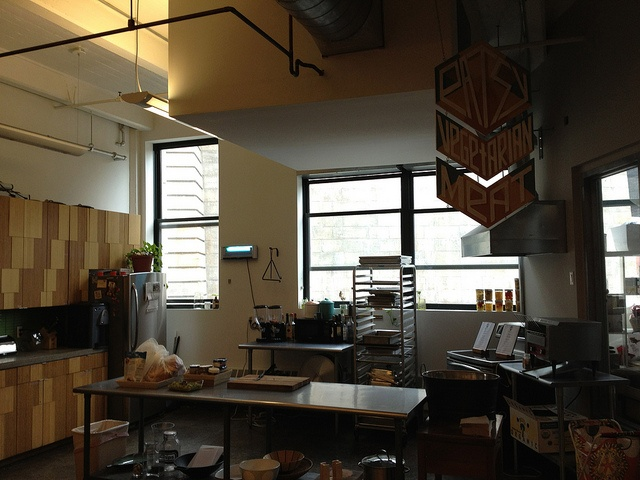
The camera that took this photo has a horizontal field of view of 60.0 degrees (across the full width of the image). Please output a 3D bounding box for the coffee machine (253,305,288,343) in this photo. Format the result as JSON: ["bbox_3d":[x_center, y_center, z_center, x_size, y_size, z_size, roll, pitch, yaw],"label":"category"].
[{"bbox_3d":[-0.685,1.151,7.559,0.401,0.493,0.452,-1,-4,-16],"label":"coffee machine"}]

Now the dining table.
[{"bbox_3d":[-0.670,1.722,5.015,3.221,0.863,0.811,-4,-7,16],"label":"dining table"}]

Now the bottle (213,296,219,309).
[{"bbox_3d":[-1.586,0.971,8.463,0.072,0.192,0.236,1,-7,-17],"label":"bottle"}]

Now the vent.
[{"bbox_3d":[2.250,-0.046,6.194,0.569,0.461,0.869,2,-6,-3],"label":"vent"}]

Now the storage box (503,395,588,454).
[{"bbox_3d":[2.218,1.811,5.573,0.493,0.476,0.726,-2,-6,-4],"label":"storage box"}]

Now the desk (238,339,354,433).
[{"bbox_3d":[-0.236,1.897,7.362,1.520,1.157,0.836,-2,-7,21],"label":"desk"}]

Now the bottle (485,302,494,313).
[{"bbox_3d":[2.258,0.905,7.388,0.098,0.141,0.105,3,-6,0],"label":"bottle"}]

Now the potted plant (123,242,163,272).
[{"bbox_3d":[-2.538,0.280,8.158,0.417,0.321,0.418,-1,-1,31],"label":"potted plant"}]

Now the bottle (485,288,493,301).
[{"bbox_3d":[2.262,0.759,7.404,0.118,0.213,0.127,2,-2,0],"label":"bottle"}]

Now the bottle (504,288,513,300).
[{"bbox_3d":[2.491,0.741,7.302,0.107,0.208,0.112,2,-1,0],"label":"bottle"}]

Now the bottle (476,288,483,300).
[{"bbox_3d":[2.151,0.751,7.446,0.108,0.200,0.119,1,-3,14],"label":"bottle"}]

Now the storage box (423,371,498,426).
[{"bbox_3d":[1.170,1.308,4.634,0.509,0.300,0.406,-1,-4,0],"label":"storage box"}]

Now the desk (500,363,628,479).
[{"bbox_3d":[2.405,1.823,5.473,0.842,1.117,1.135,0,-6,-11],"label":"desk"}]

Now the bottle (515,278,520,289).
[{"bbox_3d":[2.599,0.590,7.294,0.069,0.134,0.040,-5,-7,30],"label":"bottle"}]

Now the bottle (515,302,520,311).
[{"bbox_3d":[2.596,0.897,7.279,0.060,0.123,0.025,-4,-6,23],"label":"bottle"}]

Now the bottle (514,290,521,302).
[{"bbox_3d":[2.600,0.747,7.275,0.102,0.182,0.108,1,-1,0],"label":"bottle"}]

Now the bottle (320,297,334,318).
[{"bbox_3d":[0.102,0.966,7.629,0.196,0.230,0.199,1,-2,-31],"label":"bottle"}]

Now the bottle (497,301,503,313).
[{"bbox_3d":[2.382,0.895,7.328,0.107,0.141,0.053,-4,-7,22],"label":"bottle"}]

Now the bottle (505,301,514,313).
[{"bbox_3d":[2.480,0.887,7.268,0.108,0.229,0.116,2,-3,0],"label":"bottle"}]

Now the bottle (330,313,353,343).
[{"bbox_3d":[0.293,1.210,7.451,0.302,0.360,0.290,-2,-6,3],"label":"bottle"}]

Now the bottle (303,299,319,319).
[{"bbox_3d":[-0.119,0.983,7.674,0.188,0.188,0.201,2,-1,2],"label":"bottle"}]

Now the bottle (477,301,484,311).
[{"bbox_3d":[2.155,0.900,7.439,0.097,0.126,0.065,-4,-7,25],"label":"bottle"}]

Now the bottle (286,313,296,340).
[{"bbox_3d":[-0.405,1.222,7.683,0.118,0.364,0.343,-1,-6,-4],"label":"bottle"}]

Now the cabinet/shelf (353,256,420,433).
[{"bbox_3d":[0.857,1.267,7.230,0.596,1.886,0.591,-2,0,26],"label":"cabinet/shelf"}]

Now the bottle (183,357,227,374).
[{"bbox_3d":[-1.076,1.179,5.252,0.250,0.072,0.277,0,-3,7],"label":"bottle"}]

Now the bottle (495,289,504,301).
[{"bbox_3d":[2.387,0.754,7.350,0.109,0.203,0.121,2,-1,15],"label":"bottle"}]
